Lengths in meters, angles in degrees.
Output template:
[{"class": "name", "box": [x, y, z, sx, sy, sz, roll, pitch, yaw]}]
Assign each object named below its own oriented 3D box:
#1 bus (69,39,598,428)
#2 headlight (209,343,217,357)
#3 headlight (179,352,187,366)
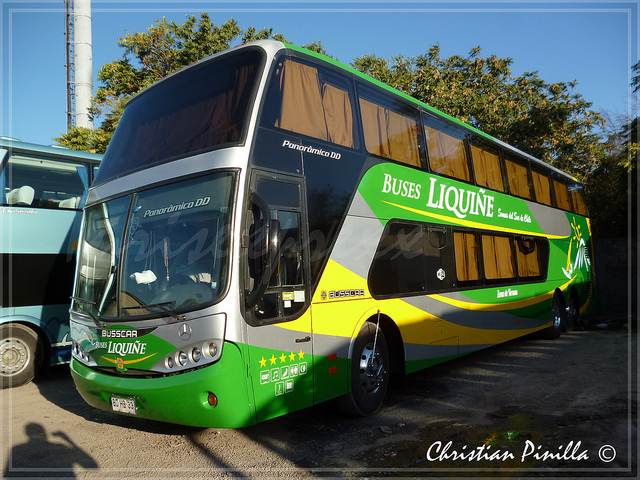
[{"class": "bus", "box": [2.686, 0.044, 10.254, 14.947, 5.821, 3.618, 1, -3, -41]}, {"class": "headlight", "box": [-1.256, 1.286, 5.009, 0.113, 0.121, 0.027, 21, -11, -1]}, {"class": "headlight", "box": [-1.634, 1.415, 5.088, 0.106, 0.143, 0.038, 2, -3, 22]}]
